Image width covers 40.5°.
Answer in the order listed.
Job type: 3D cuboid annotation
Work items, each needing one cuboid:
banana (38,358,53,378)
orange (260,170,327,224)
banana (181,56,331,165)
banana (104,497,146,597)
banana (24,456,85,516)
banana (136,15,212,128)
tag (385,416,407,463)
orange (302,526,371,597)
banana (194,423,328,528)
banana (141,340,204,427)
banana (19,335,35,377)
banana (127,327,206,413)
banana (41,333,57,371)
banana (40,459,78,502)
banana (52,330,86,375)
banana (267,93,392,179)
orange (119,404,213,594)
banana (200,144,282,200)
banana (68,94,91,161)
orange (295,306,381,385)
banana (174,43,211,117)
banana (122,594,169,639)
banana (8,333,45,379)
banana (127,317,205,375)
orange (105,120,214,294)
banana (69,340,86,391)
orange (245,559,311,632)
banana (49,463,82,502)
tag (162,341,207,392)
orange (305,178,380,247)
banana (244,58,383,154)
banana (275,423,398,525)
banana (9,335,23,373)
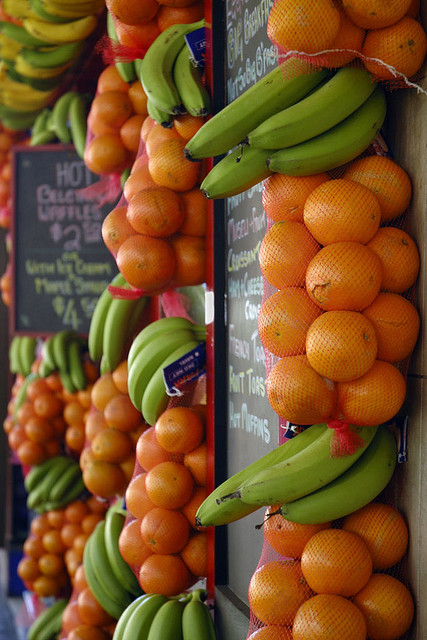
[{"bbox_3d":[-0.678,0.194,2.337,0.032,0.026,0.091,11,80,52],"label":"banana"},{"bbox_3d":[0.112,-0.188,0.862,0.101,0.080,0.080,-13,23,-21],"label":"orange"},{"bbox_3d":[0.068,-0.305,0.871,0.240,0.057,0.064,-23,62,11],"label":"banana"},{"bbox_3d":[-0.251,0.592,1.537,0.061,0.161,0.219,-15,60,-5],"label":"banana"},{"bbox_3d":[-0.640,0.657,2.382,0.243,0.096,0.300,-10,24,-3],"label":"banana"},{"bbox_3d":[-0.064,-0.510,1.221,0.138,0.089,0.257,6,80,22],"label":"banana"},{"bbox_3d":[0.261,0.166,0.821,0.029,0.066,0.018,-5,4,8],"label":"tag"},{"bbox_3d":[0.154,0.325,0.790,0.086,0.101,0.085,5,42,5],"label":"orange"},{"bbox_3d":[0.108,0.261,0.947,0.080,0.106,0.370,16,20,34],"label":"banana"},{"bbox_3d":[-0.096,0.135,1.288,0.041,0.072,0.195,34,99,26],"label":"banana"},{"bbox_3d":[-0.951,0.186,2.947,0.057,0.073,0.216,-21,58,32],"label":"banana"},{"bbox_3d":[-0.104,0.091,1.317,0.045,0.141,0.189,41,73,16],"label":"banana"},{"bbox_3d":[-0.652,0.132,2.306,0.062,0.046,0.177,9,65,-28],"label":"banana"},{"bbox_3d":[-0.620,0.621,2.386,0.054,0.067,0.260,8,43,12],"label":"banana"},{"bbox_3d":[-0.581,0.113,2.310,0.095,0.042,0.159,-4,42,-50],"label":"banana"},{"bbox_3d":[0.155,-0.257,0.796,0.150,0.039,0.051,-38,33,-9],"label":"banana"},{"bbox_3d":[-0.087,0.361,1.311,0.240,0.230,0.388,-2,87,-6],"label":"orange"},{"bbox_3d":[0.028,-0.223,0.904,0.047,0.057,0.162,14,34,32],"label":"banana"},{"bbox_3d":[-0.613,-0.840,2.561,0.092,0.438,0.144,-5,88,-22],"label":"banana"},{"bbox_3d":[0.157,0.036,0.731,0.085,0.085,0.089,1,23,-4],"label":"orange"},{"bbox_3d":[-0.049,-0.491,1.207,0.058,0.070,0.203,12,58,-28],"label":"banana"},{"bbox_3d":[-0.137,0.595,1.168,0.023,0.057,0.075,42,74,-8],"label":"banana"},{"bbox_3d":[-0.926,0.172,2.870,0.089,0.130,0.262,25,42,-26],"label":"banana"},{"bbox_3d":[-0.113,0.050,1.390,0.187,0.047,0.104,-37,84,-5],"label":"banana"},{"bbox_3d":[-0.108,-0.251,1.295,0.258,0.389,0.239,-14,21,-26],"label":"orange"},{"bbox_3d":[-0.527,0.167,2.283,0.051,0.065,0.256,-41,37,22],"label":"banana"},{"bbox_3d":[0.089,0.374,0.791,0.083,0.095,0.082,-11,44,-11],"label":"orange"},{"bbox_3d":[-0.598,0.649,2.346,0.065,0.080,0.188,9,52,23],"label":"banana"},{"bbox_3d":[-0.056,0.099,1.290,0.028,0.057,0.181,-15,9,33],"label":"tag"},{"bbox_3d":[0.173,-0.158,0.797,0.106,0.086,0.084,-10,21,-24],"label":"orange"},{"bbox_3d":[0.144,-0.295,0.798,0.174,0.045,0.058,-37,12,1],"label":"banana"},{"bbox_3d":[0.185,0.222,0.793,0.204,0.055,0.068,-30,48,-12],"label":"banana"},{"bbox_3d":[-1.056,0.185,3.066,0.057,0.153,0.198,7,80,-17],"label":"banana"}]
